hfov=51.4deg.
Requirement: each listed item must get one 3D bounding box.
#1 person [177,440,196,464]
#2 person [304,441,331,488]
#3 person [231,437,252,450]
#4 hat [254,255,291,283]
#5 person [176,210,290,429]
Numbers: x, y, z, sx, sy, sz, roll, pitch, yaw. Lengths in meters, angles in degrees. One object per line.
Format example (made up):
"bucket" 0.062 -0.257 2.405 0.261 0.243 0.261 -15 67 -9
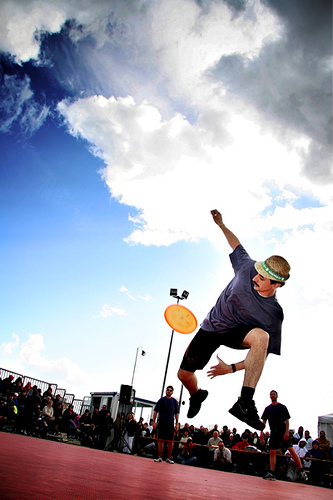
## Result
"person" 0.785 7.708 13.476 0.600 0.836 1.491 11 -16 0
"person" 4.895 6.872 11.290 0.773 1.129 1.084 4 -17 23
"person" 2.879 7.390 13.469 0.582 0.359 0.797 32 -39 -29
"hat" 1.145 0.209 3.686 0.258 0.133 0.235 37 6 -27
"person" 0.849 0.629 4.239 0.629 2.531 1.380 19 -18 -28
